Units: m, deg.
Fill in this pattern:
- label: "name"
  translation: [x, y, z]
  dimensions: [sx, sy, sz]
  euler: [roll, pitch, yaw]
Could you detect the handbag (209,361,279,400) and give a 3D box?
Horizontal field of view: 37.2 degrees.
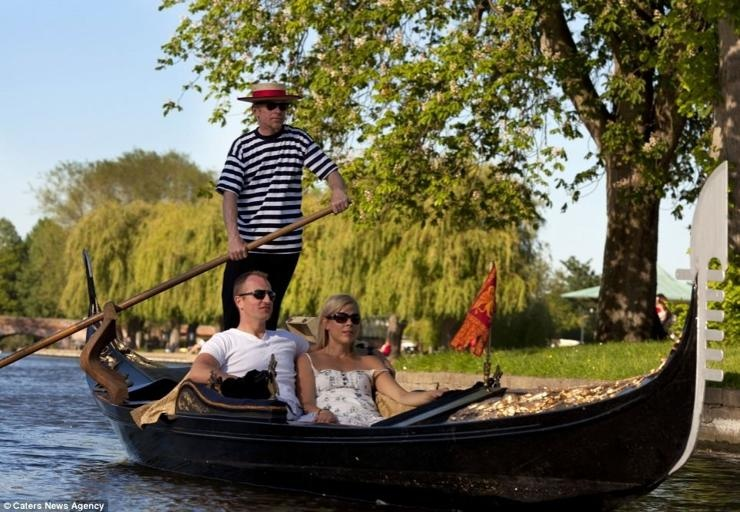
- label: "handbag"
  translation: [-1.416, 1.378, 12.306]
  dimensions: [0.621, 0.325, 0.408]
  euler: [-3, -4, 13]
